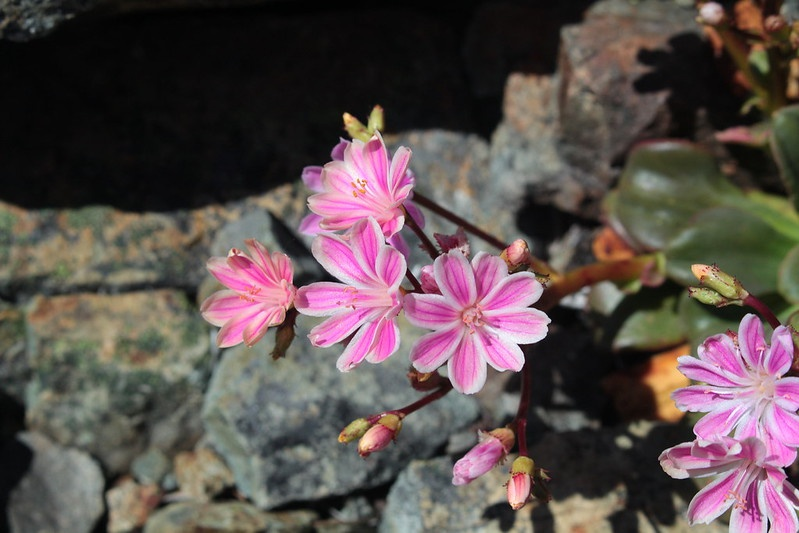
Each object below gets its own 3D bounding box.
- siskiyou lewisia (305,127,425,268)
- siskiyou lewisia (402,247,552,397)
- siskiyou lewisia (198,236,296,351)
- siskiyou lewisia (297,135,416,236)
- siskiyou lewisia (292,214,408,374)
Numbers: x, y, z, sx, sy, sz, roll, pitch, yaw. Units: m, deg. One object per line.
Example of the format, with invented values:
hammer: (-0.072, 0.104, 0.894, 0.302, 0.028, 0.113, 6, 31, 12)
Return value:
siskiyou lewisia: (-0.079, -0.216, 2.445, 0.355, 0.176, 0.421, -42, 33, 1)
siskiyou lewisia: (0.229, 0.159, 2.397, 0.435, 0.254, 0.334, -2, 59, -3)
siskiyou lewisia: (-0.452, 0.083, 2.507, 0.296, 0.163, 0.333, -4, 87, 35)
siskiyou lewisia: (-0.063, -0.277, 2.588, 0.317, 0.373, 0.191, -14, 85, 11)
siskiyou lewisia: (-0.100, 0.069, 2.446, 0.392, 0.211, 0.441, 5, 94, 47)
